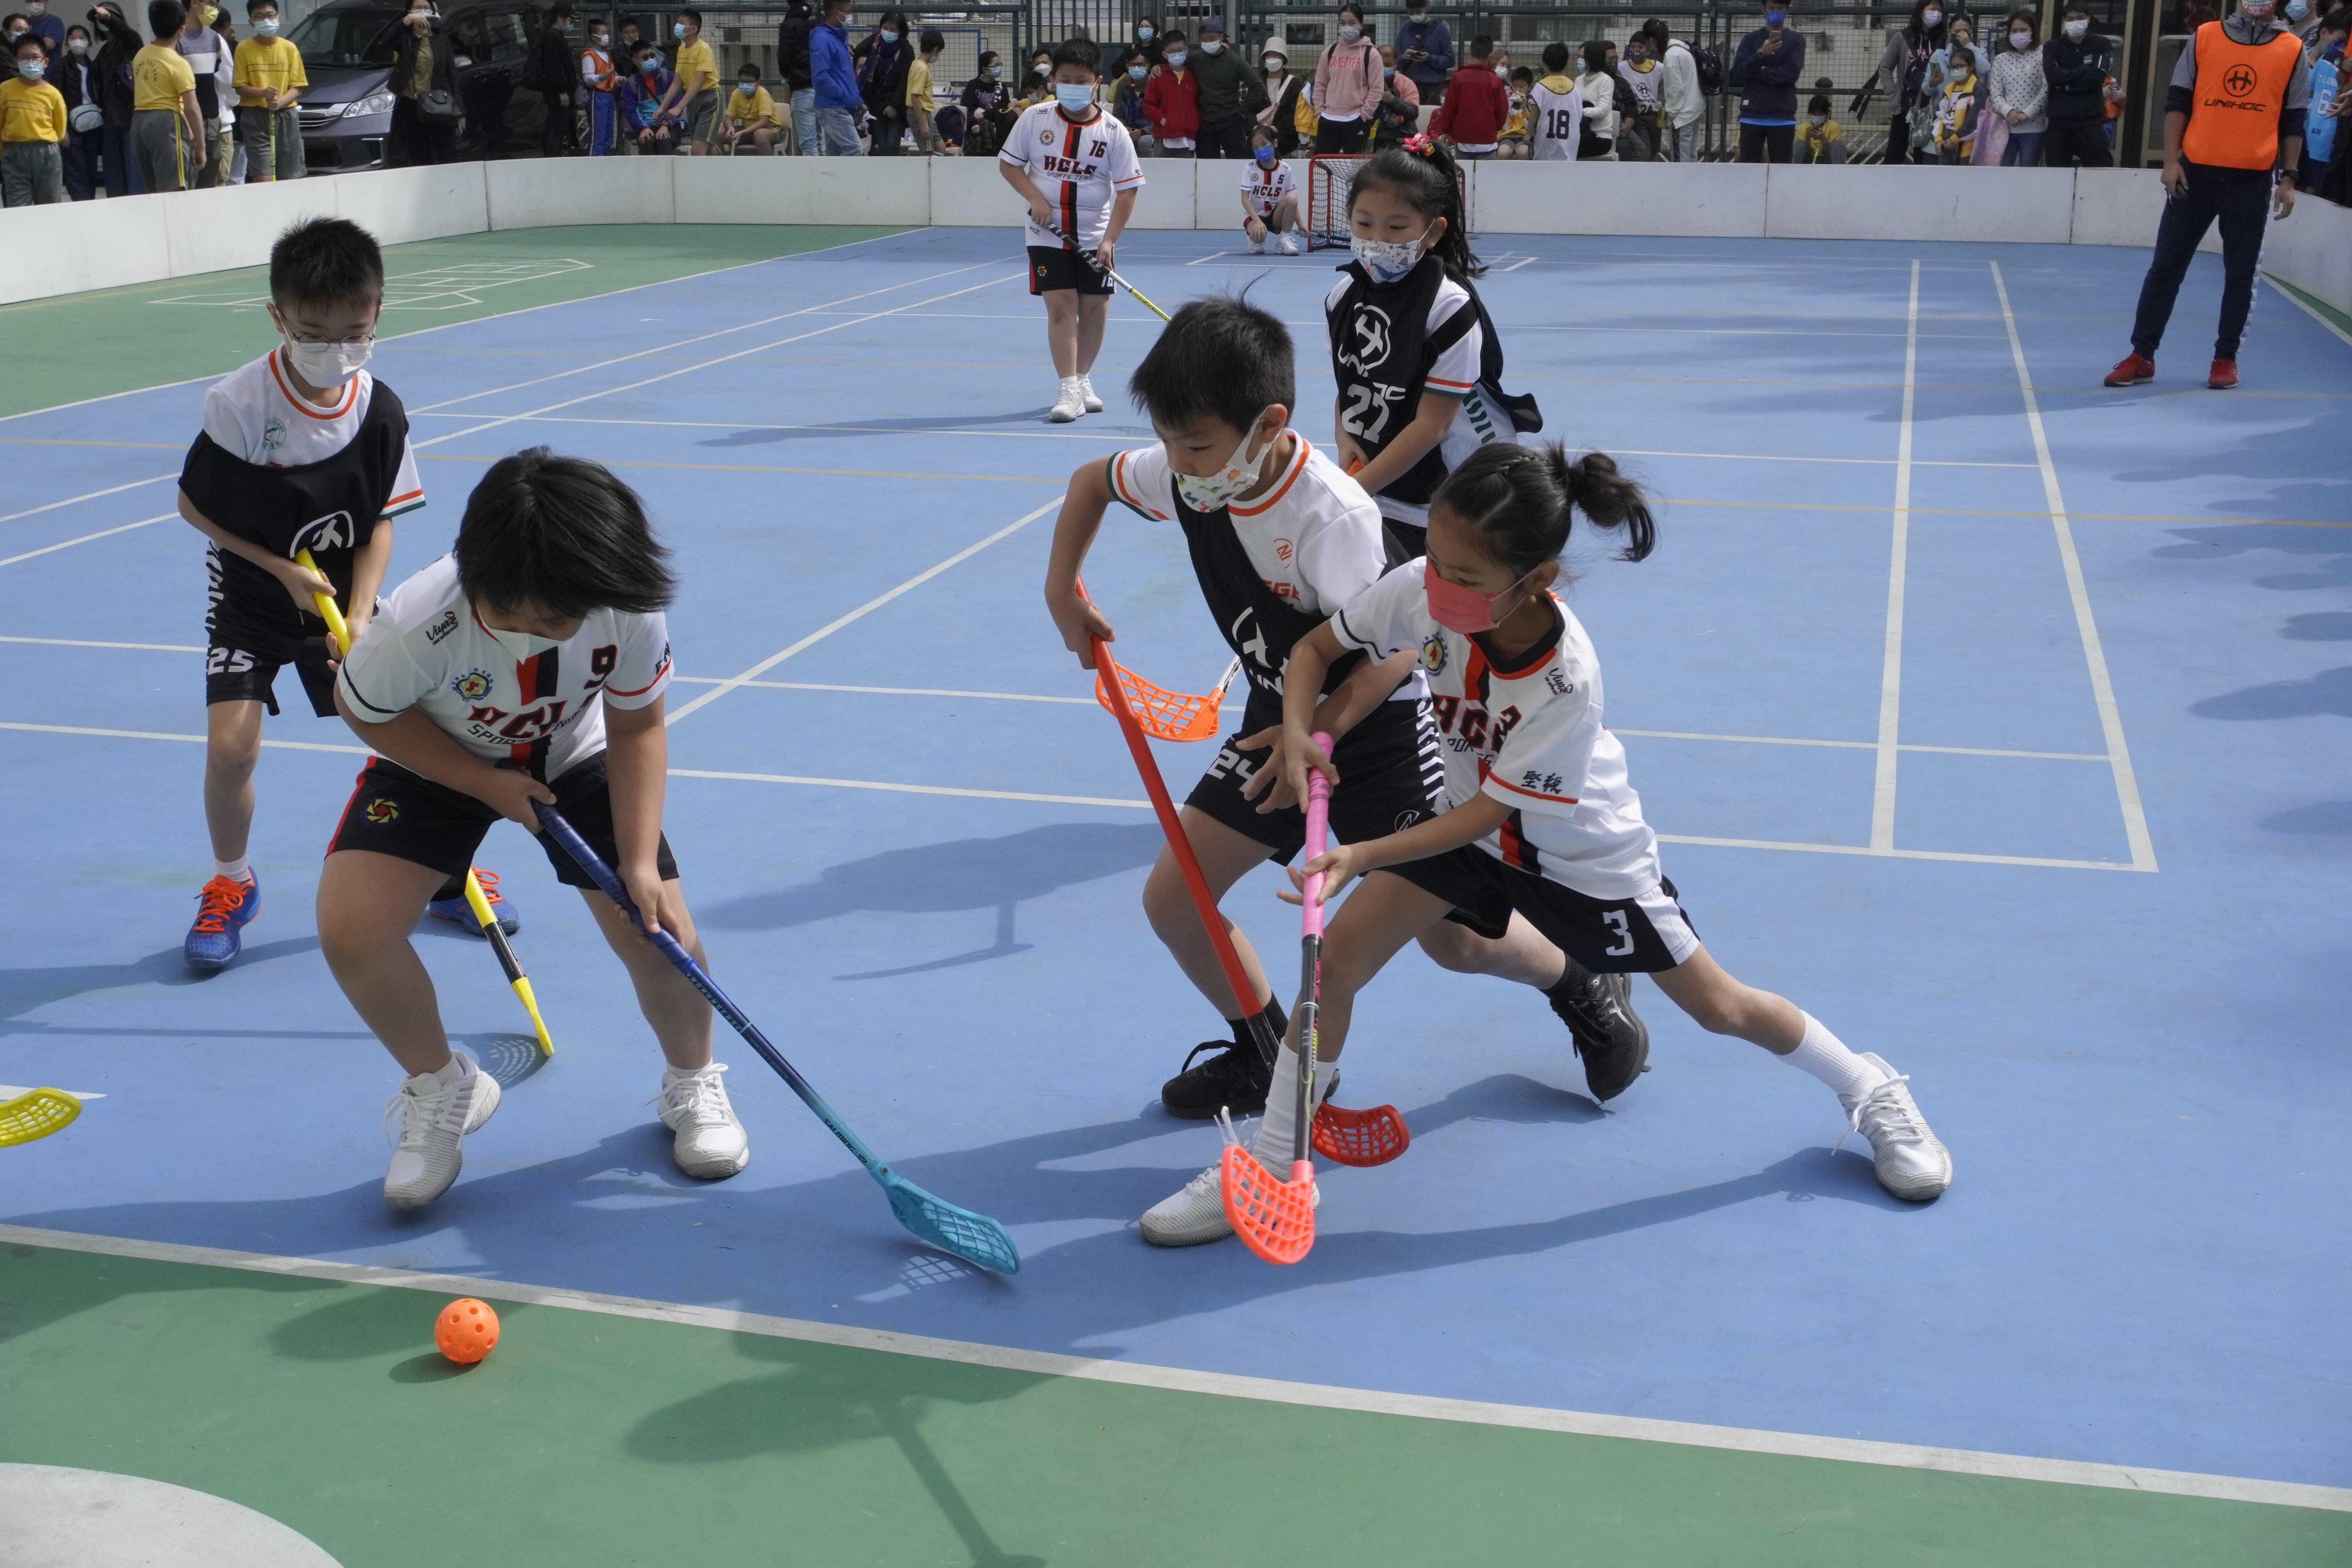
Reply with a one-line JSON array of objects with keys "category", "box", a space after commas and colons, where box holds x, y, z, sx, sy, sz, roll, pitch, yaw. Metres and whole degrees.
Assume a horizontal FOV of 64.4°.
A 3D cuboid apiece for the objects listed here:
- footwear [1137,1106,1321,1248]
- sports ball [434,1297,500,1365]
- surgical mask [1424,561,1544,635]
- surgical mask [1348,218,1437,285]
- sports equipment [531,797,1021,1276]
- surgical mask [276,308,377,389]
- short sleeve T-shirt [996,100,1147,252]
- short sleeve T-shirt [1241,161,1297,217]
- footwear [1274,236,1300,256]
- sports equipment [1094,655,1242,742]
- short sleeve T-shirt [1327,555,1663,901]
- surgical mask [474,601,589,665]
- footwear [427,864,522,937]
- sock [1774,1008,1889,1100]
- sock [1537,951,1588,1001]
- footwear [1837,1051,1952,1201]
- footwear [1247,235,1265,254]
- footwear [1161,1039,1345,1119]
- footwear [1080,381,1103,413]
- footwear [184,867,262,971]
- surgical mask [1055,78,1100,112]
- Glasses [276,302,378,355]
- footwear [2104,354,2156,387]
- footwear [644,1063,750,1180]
[{"category": "footwear", "box": [0.125, 0.956, 4.467, 0.421, 0.197, 0.144, -22, 36, -12]}, {"category": "sports ball", "box": [-1.554, 1.179, 4.123, 0.136, 0.130, 0.135, 1, 8, 0]}, {"category": "surgical mask", "box": [0.658, -0.407, 4.162, 0.173, 0.109, 0.163, -37, 49, -18]}, {"category": "surgical mask", "box": [0.674, -1.677, 5.957, 0.208, 0.138, 0.155, 2, 17, 10]}, {"category": "sports equipment", "box": [-1.082, 0.710, 4.980, 1.411, 0.260, 0.092, 45, 24, 6]}, {"category": "surgical mask", "box": [-2.402, -1.296, 5.268, 0.242, 0.156, 0.255, 2, -16, -23]}, {"category": "short sleeve T-shirt", "box": [-0.670, -3.865, 11.824, 0.821, 0.898, 0.676, -1, 17, 0]}, {"category": "short sleeve T-shirt", "box": [0.996, -6.286, 19.716, 0.641, 0.666, 0.359, 0, 11, 15]}, {"category": "footwear", "box": [1.218, -5.745, 19.833, 0.164, 0.233, 0.471, 6, 18, 22]}, {"category": "sports equipment", "box": [-0.025, -0.281, 6.352, 0.510, 0.044, 0.546, -3, 52, -7]}, {"category": "short sleeve T-shirt", "box": [0.740, -0.108, 4.511, 0.619, 0.790, 0.790, -41, 51, -21]}, {"category": "surgical mask", "box": [-1.436, -0.344, 4.127, 0.148, 0.070, 0.155, 7, 50, -13]}, {"category": "footwear", "box": [-2.062, 0.349, 5.457, 0.339, 0.150, 0.133, 12, 42, 21]}, {"category": "sock", "box": [1.664, 0.697, 4.756, 0.116, 0.247, 0.085, -42, 5, -37]}, {"category": "sock", "box": [1.010, 0.509, 4.863, 0.105, 0.127, 0.095, 22, 9, -11]}, {"category": "footwear", "box": [1.788, 0.853, 4.575, 0.188, 0.164, 0.375, -26, 34, 6]}, {"category": "footwear", "box": [0.837, -5.751, 19.938, 0.127, 0.162, 0.342, 0, 21, -5]}, {"category": "footwear", "box": [0.213, 0.782, 4.878, 0.526, 0.243, 0.190, -2, 40, 0]}, {"category": "footwear", "box": [-0.569, -2.522, 12.166, 0.108, 0.142, 0.322, -8, 22, -12]}, {"category": "footwear", "box": [-2.874, 0.393, 5.629, 0.133, 0.149, 0.368, -7, 30, -16]}, {"category": "surgical mask", "box": [-0.645, -4.341, 11.800, 0.194, 0.133, 0.209, 3, 34, 5]}, {"category": "Glasses", "box": [-2.393, -1.291, 5.254, 0.274, 0.142, 0.240, -6, 18, -17]}, {"category": "footwear", "box": [6.340, -2.761, 12.467, 0.454, 0.200, 0.171, -16, 17, -24]}, {"category": "footwear", "box": [-1.194, 0.845, 4.672, 0.159, 0.148, 0.325, -10, 28, -28]}]
